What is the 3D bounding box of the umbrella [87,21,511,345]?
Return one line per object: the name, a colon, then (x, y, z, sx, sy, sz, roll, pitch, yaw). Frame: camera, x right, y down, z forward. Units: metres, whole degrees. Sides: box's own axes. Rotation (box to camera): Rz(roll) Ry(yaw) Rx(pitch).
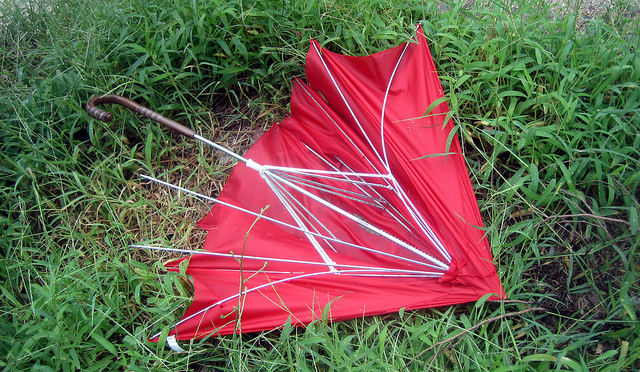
umbrella: (0.066, 0.026, 3.546, 1.970, 1.345, 1.342, -13, 37, -3)
